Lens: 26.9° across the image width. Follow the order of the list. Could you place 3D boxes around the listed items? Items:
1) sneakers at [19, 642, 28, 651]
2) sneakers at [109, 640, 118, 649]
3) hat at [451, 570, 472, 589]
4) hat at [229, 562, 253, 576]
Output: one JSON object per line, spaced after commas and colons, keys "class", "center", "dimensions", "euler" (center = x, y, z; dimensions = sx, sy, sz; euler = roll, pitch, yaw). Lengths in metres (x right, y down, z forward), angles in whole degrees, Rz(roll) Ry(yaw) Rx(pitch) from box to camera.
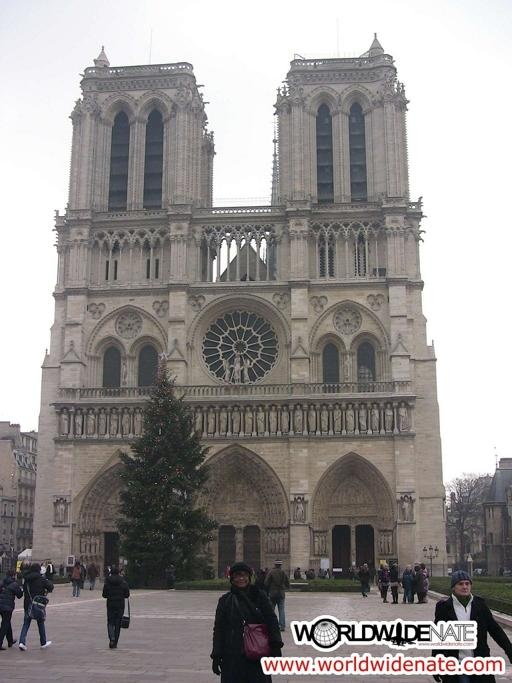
{"class": "sneakers", "center": [-3.664, 4.817, 16.704], "dimensions": [0.078, 0.095, 0.210], "euler": [-2, -18, 7]}
{"class": "sneakers", "center": [-2.265, 4.832, 16.889], "dimensions": [0.087, 0.110, 0.119], "euler": [8, -35, -3]}
{"class": "hat", "center": [1.955, 2.268, 10.179], "dimensions": [0.194, 0.156, 0.193], "euler": [10, -10, -9]}
{"class": "hat", "center": [-0.156, 2.166, 10.140], "dimensions": [0.166, 0.099, 0.166], "euler": [1, -19, -1]}
